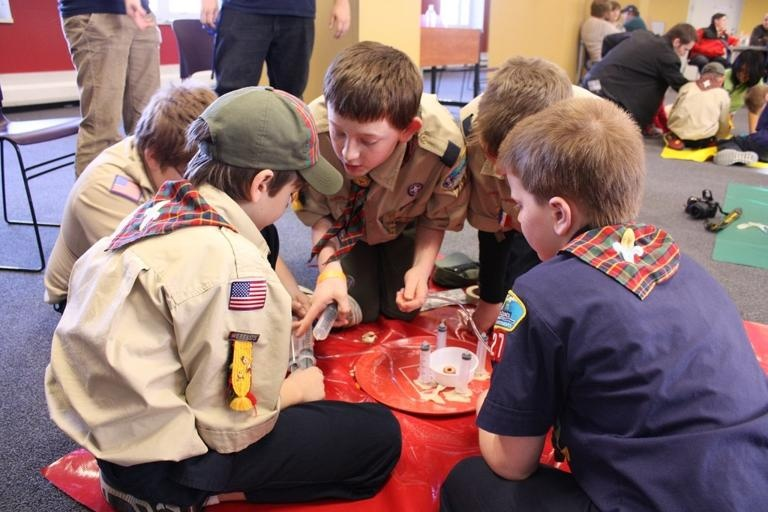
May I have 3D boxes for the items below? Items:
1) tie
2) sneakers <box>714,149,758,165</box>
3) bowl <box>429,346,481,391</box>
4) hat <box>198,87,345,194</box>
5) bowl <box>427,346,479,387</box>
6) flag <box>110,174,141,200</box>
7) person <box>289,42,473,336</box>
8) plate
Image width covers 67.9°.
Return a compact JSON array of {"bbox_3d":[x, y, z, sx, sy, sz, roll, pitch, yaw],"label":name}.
[{"bbox_3d":[-0.143,-0.142,2.266,0.140,0.078,0.446,5,60,36],"label":"tie"},{"bbox_3d":[3.045,-0.852,4.908,0.294,0.162,0.127,18,46,27],"label":"sneakers"},{"bbox_3d":[0.243,0.388,1.990,0.146,0.069,0.150,-1,24,0],"label":"bowl"},{"bbox_3d":[-0.310,-0.323,1.678,0.428,0.251,0.289,9,0,-8],"label":"hat"},{"bbox_3d":[0.240,0.383,1.985,0.141,0.062,0.144,0,26,0],"label":"bowl"},{"bbox_3d":[-0.907,-0.240,1.980,0.011,0.078,0.057,-28,36,36],"label":"flag"},{"bbox_3d":[-0.022,-0.263,2.290,0.662,1.216,0.907,3,41,-2],"label":"person"},{"bbox_3d":[0.121,0.434,1.995,0.299,0.035,0.300,-6,24,-12],"label":"plate"}]
